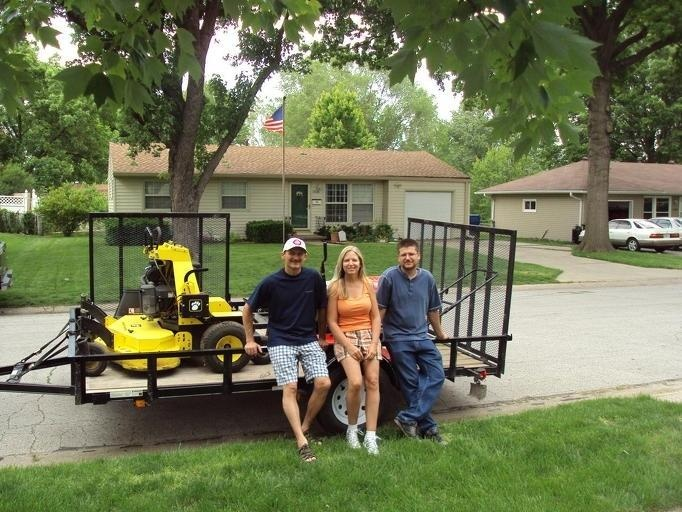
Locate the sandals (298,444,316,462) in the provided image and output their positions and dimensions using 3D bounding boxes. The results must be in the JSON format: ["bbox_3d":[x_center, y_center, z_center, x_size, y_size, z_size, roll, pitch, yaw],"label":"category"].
[{"bbox_3d":[-0.316,1.842,5.844,0.162,0.103,0.222,-1,4,-5],"label":"sandals"}]

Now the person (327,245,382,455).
[{"bbox_3d":[0.143,0.895,6.414,0.565,1.959,0.832,-1,5,-1],"label":"person"}]

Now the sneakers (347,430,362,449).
[{"bbox_3d":[0.131,1.793,6.167,0.140,0.179,0.215,-1,5,2],"label":"sneakers"}]

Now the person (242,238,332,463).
[{"bbox_3d":[-0.512,0.892,6.385,0.865,2.154,0.949,1,5,17],"label":"person"}]

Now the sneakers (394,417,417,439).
[{"bbox_3d":[0.686,1.784,6.495,0.142,0.305,0.105,-37,-27,10],"label":"sneakers"}]

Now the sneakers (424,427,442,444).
[{"bbox_3d":[0.939,1.814,6.302,0.207,0.099,0.247,-1,4,3],"label":"sneakers"}]
